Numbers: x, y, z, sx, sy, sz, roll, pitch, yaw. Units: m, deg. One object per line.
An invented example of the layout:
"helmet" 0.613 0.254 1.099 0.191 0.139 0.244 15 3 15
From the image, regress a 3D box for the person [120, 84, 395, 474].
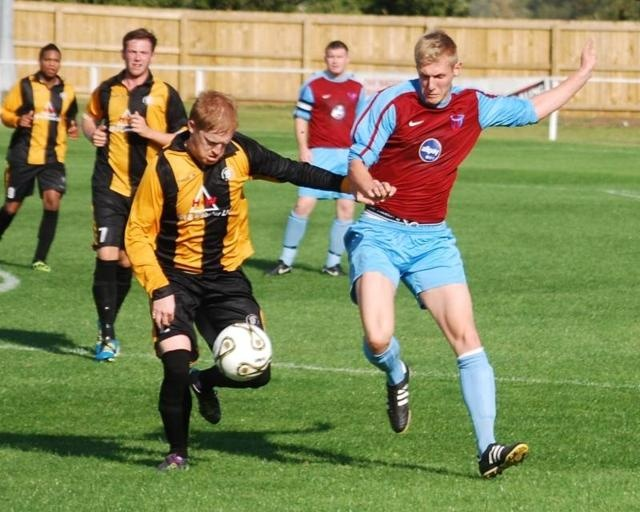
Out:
"person" -0.598 0.112 6.466 1.114 2.168 0.692 -3 14 -14

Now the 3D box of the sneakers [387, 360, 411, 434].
"sneakers" 0.514 0.878 6.695 0.143 0.400 0.180 1 12 22

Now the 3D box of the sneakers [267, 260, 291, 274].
"sneakers" -0.424 0.127 11.117 0.105 0.113 0.268 3 2 44

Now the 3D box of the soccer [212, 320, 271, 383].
"soccer" -0.473 0.555 6.357 0.368 0.330 0.331 -1 -7 -12

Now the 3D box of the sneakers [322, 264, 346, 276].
"sneakers" 0.118 0.148 11.150 0.270 0.114 0.098 3 8 33

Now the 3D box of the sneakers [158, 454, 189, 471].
"sneakers" -0.865 1.199 6.320 0.163 0.072 0.085 4 0 -5

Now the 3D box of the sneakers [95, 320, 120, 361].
"sneakers" -1.636 0.636 8.212 0.187 0.254 0.338 -3 14 -11

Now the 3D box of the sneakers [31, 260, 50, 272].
"sneakers" -2.848 0.102 10.908 0.184 0.091 0.075 9 -14 -1
